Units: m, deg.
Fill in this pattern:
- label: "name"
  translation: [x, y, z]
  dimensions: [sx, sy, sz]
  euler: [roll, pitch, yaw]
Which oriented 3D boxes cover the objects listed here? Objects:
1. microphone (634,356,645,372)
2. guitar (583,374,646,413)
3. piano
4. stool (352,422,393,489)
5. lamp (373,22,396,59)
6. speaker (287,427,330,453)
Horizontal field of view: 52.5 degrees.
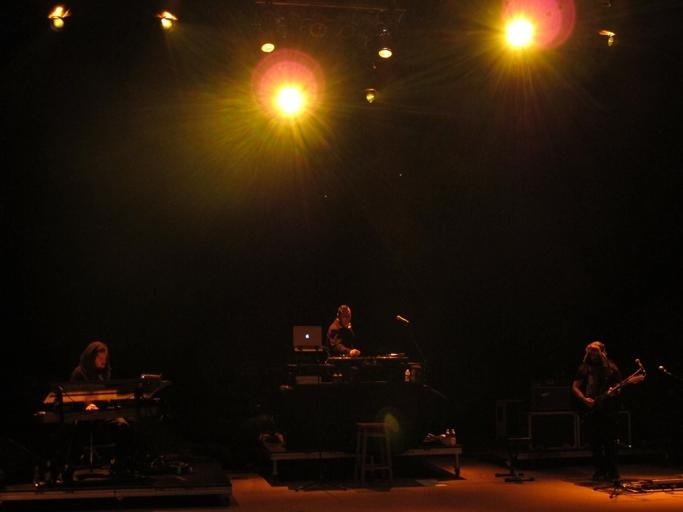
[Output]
- label: "microphone"
  translation: [4.681, 1.692, 10.832]
  dimensions: [0.123, 0.142, 0.709]
  euler: [-12, -31, 20]
- label: "guitar"
  translation: [3.730, 1.986, 9.688]
  dimensions: [0.123, 0.417, 1.068]
  euler: [24, -42, -23]
- label: "piano"
  translation: [-2.878, 1.685, 8.323]
  dimensions: [1.402, 0.570, 1.187]
  euler: [3, -3, -16]
- label: "stool"
  translation: [0.457, 2.694, 9.624]
  dimensions: [0.525, 0.734, 0.564]
  euler: [1, -4, 4]
- label: "lamp"
  translation: [0.569, -2.892, 9.132]
  dimensions: [0.269, 0.266, 0.467]
  euler: [-9, -57, -10]
- label: "speaker"
  translation: [-0.478, 2.545, 9.678]
  dimensions: [0.597, 0.357, 0.146]
  euler: [2, 2, 1]
